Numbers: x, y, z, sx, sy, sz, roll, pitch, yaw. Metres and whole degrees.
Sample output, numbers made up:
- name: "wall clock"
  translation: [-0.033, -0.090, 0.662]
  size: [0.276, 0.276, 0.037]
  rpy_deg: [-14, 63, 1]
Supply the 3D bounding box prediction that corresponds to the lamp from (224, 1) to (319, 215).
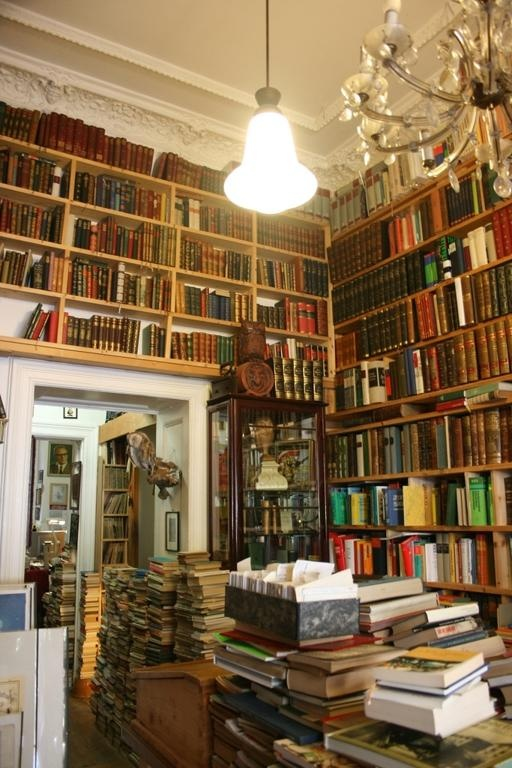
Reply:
- name: "lamp"
  translation: [0.031, -0.843, 1.798]
  size: [0.250, 0.540, 0.243]
  rpy_deg: [8, -16, -36]
